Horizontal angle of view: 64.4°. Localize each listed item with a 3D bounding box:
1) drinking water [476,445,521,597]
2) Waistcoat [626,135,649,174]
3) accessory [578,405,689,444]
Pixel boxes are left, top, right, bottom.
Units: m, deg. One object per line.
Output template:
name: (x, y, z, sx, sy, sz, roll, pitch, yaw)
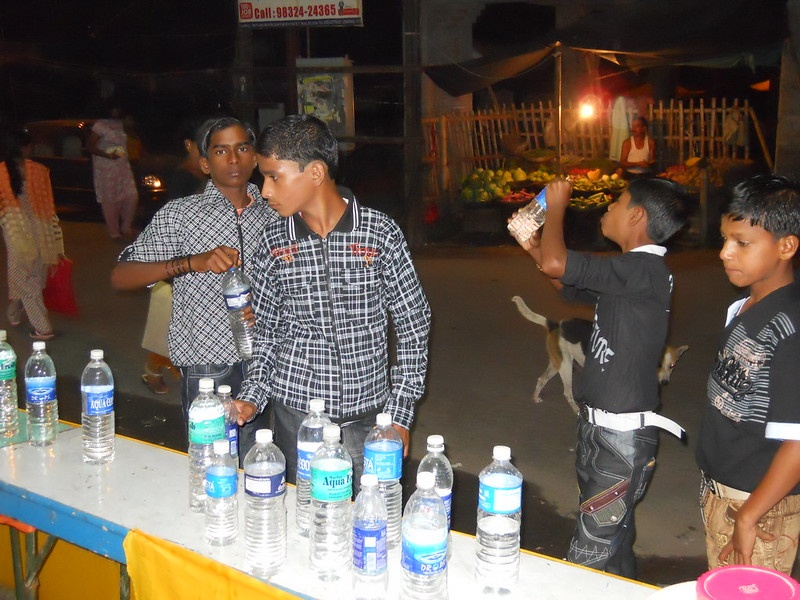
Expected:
drinking water: (0.381, 0.799, 2.395, 0.188, 0.517, 0.287, 6, 14, 8)
Waistcoat: (4.682, -2.902, 12.476, 0.589, 0.801, 0.286, 7, 14, 15)
accessory: (1.224, 0.623, 3.374, 0.531, 0.116, 0.175, 9, 14, 22)
